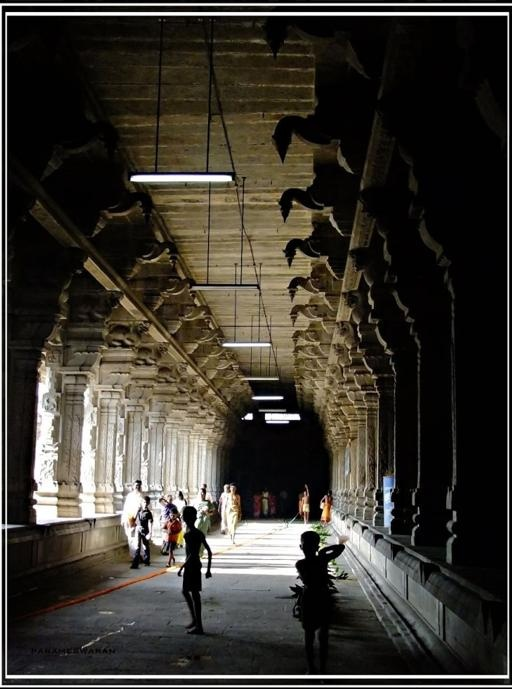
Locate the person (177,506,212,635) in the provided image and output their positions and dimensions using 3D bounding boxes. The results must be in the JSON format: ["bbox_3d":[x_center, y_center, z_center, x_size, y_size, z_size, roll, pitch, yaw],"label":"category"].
[{"bbox_3d":[-0.548,1.992,5.323,0.241,1.033,0.914,2,-11,-6],"label":"person"}]

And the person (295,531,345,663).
[{"bbox_3d":[0.397,1.619,3.750,0.291,0.842,0.662,0,-11,8],"label":"person"}]
